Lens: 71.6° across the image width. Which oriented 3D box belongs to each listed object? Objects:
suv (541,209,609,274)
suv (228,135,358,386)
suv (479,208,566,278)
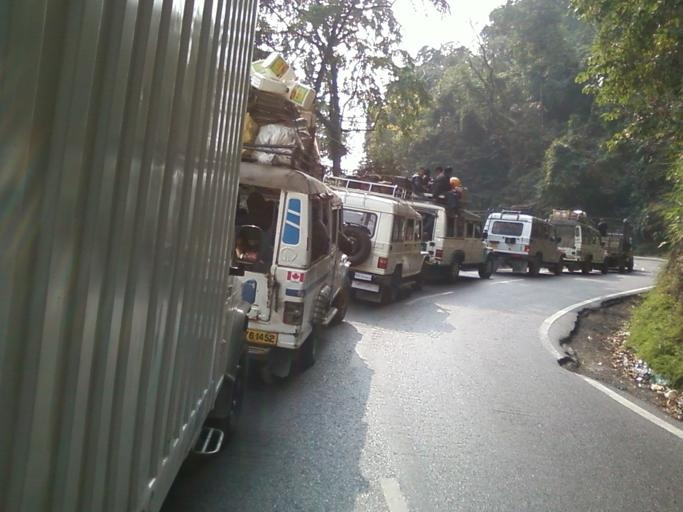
[{"bbox_3d":[15.296,-0.954,30.448,3.046,3.533,5.655,0,2,26],"label":"suv"},{"bbox_3d":[-0.683,0.079,7.145,1.544,1.768,2.838,1,6,13],"label":"suv"},{"bbox_3d":[9.384,-0.688,24.640,2.670,2.871,4.875,1,2,32],"label":"suv"}]
